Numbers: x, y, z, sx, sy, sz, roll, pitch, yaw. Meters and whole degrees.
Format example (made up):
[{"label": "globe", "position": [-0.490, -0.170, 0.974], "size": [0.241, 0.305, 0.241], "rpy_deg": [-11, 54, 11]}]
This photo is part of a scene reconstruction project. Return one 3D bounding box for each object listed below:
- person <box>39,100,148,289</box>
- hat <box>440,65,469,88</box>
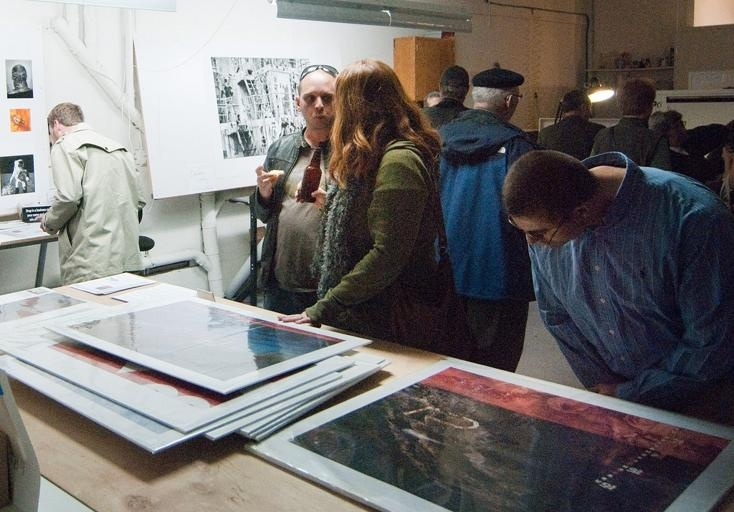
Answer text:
[{"label": "person", "position": [-1.814, -0.403, 3.503], "size": [0.584, 1.104, 0.489], "rpy_deg": [-7, 16, -23]}, {"label": "hat", "position": [0.491, -1.020, 3.031], "size": [0.109, 0.146, 0.146], "rpy_deg": [-1, 2, 6]}]
